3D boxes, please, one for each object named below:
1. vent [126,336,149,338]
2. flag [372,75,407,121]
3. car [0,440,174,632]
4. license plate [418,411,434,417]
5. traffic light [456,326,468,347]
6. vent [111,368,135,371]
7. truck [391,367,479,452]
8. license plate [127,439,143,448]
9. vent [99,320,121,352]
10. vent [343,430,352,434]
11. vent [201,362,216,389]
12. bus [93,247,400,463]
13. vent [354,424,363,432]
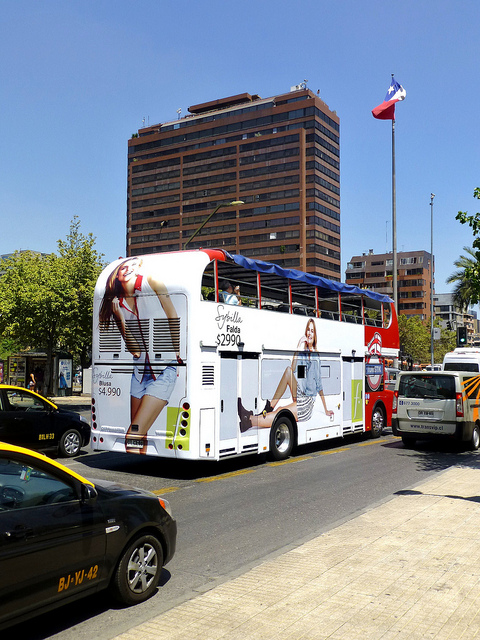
[{"bbox_3d":[-1.711,0.294,11.569,0.088,0.031,0.473,6,-4,-40],"label":"vent"},{"bbox_3d":[6.767,-10.000,30.916,1.277,3.042,0.457,-1,-35,20],"label":"flag"},{"bbox_3d":[-1.150,1.517,4.898,0.718,0.901,1.461,-5,-1,37],"label":"car"},{"bbox_3d":[4.189,2.130,15.617,0.324,0.126,0.053,1,-2,25],"label":"license plate"},{"bbox_3d":[8.495,0.609,26.355,0.370,0.780,1.724,1,-3,18],"label":"traffic light"},{"bbox_3d":[-2.033,0.850,11.827,0.607,0.058,0.009,0,-2,40],"label":"vent"},{"bbox_3d":[4.879,2.131,16.442,1.202,1.492,2.252,0,-5,26],"label":"truck"},{"bbox_3d":[-1.767,2.066,11.464,0.378,0.139,0.023,0,-2,40],"label":"license plate"},{"bbox_3d":[-2.297,0.300,12.054,0.123,0.532,0.627,3,-2,-41],"label":"vent"},{"bbox_3d":[2.579,2.709,16.627,0.019,0.060,0.591,1,-4,29],"label":"vent"},{"bbox_3d":[-0.544,0.906,11.108,0.035,0.458,0.330,-5,-6,24],"label":"vent"},{"bbox_3d":[0.946,0.990,14.768,2.226,3.938,7.513,-11,-10,40],"label":"bus"},{"bbox_3d":[2.959,2.716,17.296,0.017,0.169,0.607,0,-4,30],"label":"vent"}]
